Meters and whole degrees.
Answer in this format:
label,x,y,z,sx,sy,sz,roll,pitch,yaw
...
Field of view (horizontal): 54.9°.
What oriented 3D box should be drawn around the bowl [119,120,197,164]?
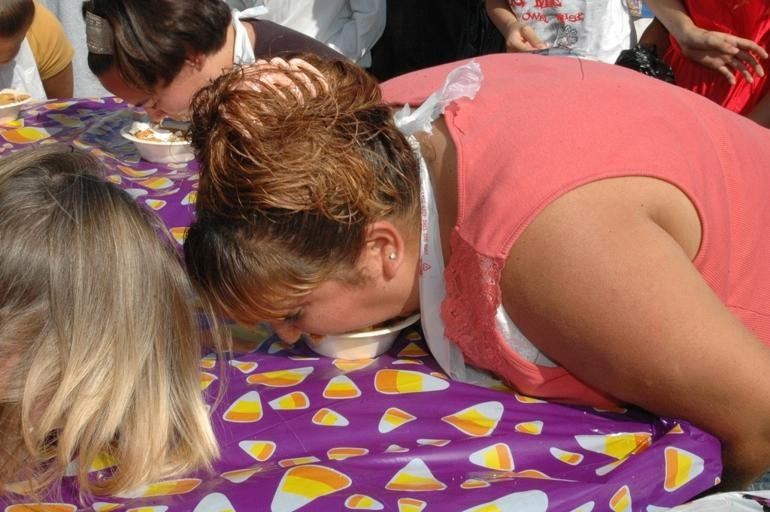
label,x,y,z,sx,sy,sz,roll,pitch,yaw
bowl,-0.862,-0.437,2.734,0.246,0.076,0.227,4,33,-3
